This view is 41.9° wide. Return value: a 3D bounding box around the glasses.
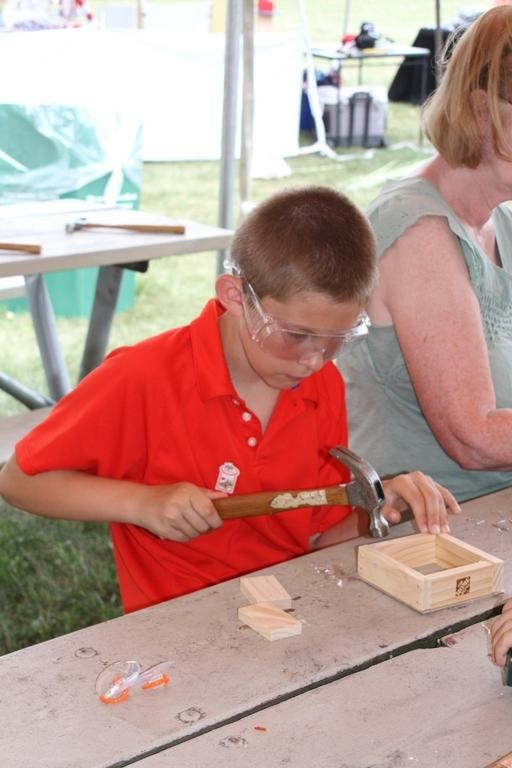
[{"bbox_3d":[0.077,-0.142,1.313,0.194,0.185,0.223,-4,20,-17],"label":"glasses"}]
